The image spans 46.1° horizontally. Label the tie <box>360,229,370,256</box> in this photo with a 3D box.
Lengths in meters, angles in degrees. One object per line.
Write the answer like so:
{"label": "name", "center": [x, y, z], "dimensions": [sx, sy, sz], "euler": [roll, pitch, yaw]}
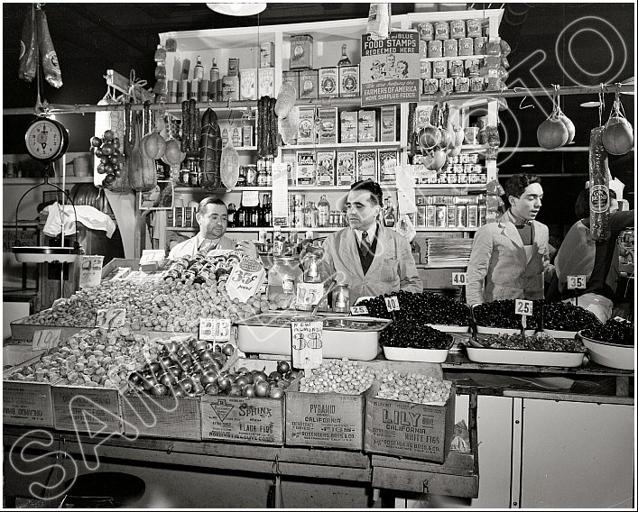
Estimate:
{"label": "tie", "center": [0.407, -0.124, 6.533], "dimensions": [0.110, 0.224, 0.051], "euler": [2, 2, 1]}

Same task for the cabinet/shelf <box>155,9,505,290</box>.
{"label": "cabinet/shelf", "center": [0.199, -1.003, 7.281], "dimensions": [2.547, 2.749, 0.820], "euler": [0, -4, 12]}

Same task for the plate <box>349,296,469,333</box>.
{"label": "plate", "center": [0.703, 0.386, 5.329], "dimensions": [0.548, 0.198, 0.384], "euler": [3, -4, 5]}

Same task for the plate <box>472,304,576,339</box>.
{"label": "plate", "center": [1.372, 0.447, 5.259], "dimensions": [0.463, 0.097, 0.313], "euler": [0, 16, 4]}

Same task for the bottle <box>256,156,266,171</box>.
{"label": "bottle", "center": [-0.608, -0.994, 7.887], "dimensions": [0.108, 0.142, 0.119], "euler": [0, 0, 0]}

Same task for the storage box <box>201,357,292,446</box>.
{"label": "storage box", "center": [-0.465, 0.948, 4.734], "dimensions": [0.425, 0.222, 0.460], "euler": [0, 4, 8]}

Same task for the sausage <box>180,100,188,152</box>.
{"label": "sausage", "center": [-1.147, -1.135, 6.435], "dimensions": [0.109, 0.431, 0.061], "euler": [4, 3, 38]}

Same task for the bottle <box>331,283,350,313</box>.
{"label": "bottle", "center": [0.168, 0.332, 5.701], "dimensions": [0.152, 0.263, 0.169], "euler": [0, -11, 5]}

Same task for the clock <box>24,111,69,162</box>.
{"label": "clock", "center": [-2.310, -1.013, 6.394], "dimensions": [0.349, 0.399, 0.166], "euler": [3, 2, 5]}

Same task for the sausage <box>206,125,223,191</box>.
{"label": "sausage", "center": [-0.996, -0.933, 6.971], "dimensions": [0.154, 0.592, 0.194], "euler": [-3, 10, -14]}

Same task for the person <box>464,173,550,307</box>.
{"label": "person", "center": [1.757, -0.157, 6.941], "dimensions": [0.765, 1.216, 0.369], "euler": [3, 2, 6]}

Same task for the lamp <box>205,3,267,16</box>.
{"label": "lamp", "center": [-0.553, -1.902, 5.667], "dimensions": [0.354, 0.092, 0.375], "euler": [14, 23, 29]}

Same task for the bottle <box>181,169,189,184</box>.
{"label": "bottle", "center": [-1.430, -0.873, 8.039], "dimensions": [0.098, 0.200, 0.106], "euler": [0, 2, 0]}

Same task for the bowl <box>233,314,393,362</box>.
{"label": "bowl", "center": [-0.049, 0.559, 5.085], "dimensions": [1.039, 0.303, 0.411], "euler": [3, 3, 5]}

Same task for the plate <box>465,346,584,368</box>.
{"label": "plate", "center": [1.372, 0.679, 4.956], "dimensions": [0.429, 0.074, 0.290], "euler": [-1, -18, 8]}

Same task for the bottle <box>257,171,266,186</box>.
{"label": "bottle", "center": [-0.594, -0.827, 7.861], "dimensions": [0.103, 0.177, 0.113], "euler": [0, -4, 0]}
